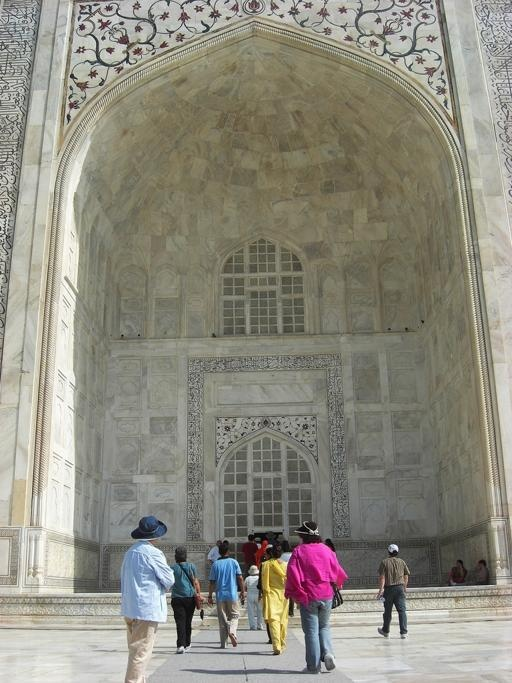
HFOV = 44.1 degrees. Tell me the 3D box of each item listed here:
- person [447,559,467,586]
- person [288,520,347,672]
[{"bbox_3d":[3.304,3.772,10.380,0.305,0.359,0.756,-8,-19,14],"label":"person"},{"bbox_3d":[0.349,1.442,3.632,0.361,0.805,0.581,-4,-19,4],"label":"person"}]
